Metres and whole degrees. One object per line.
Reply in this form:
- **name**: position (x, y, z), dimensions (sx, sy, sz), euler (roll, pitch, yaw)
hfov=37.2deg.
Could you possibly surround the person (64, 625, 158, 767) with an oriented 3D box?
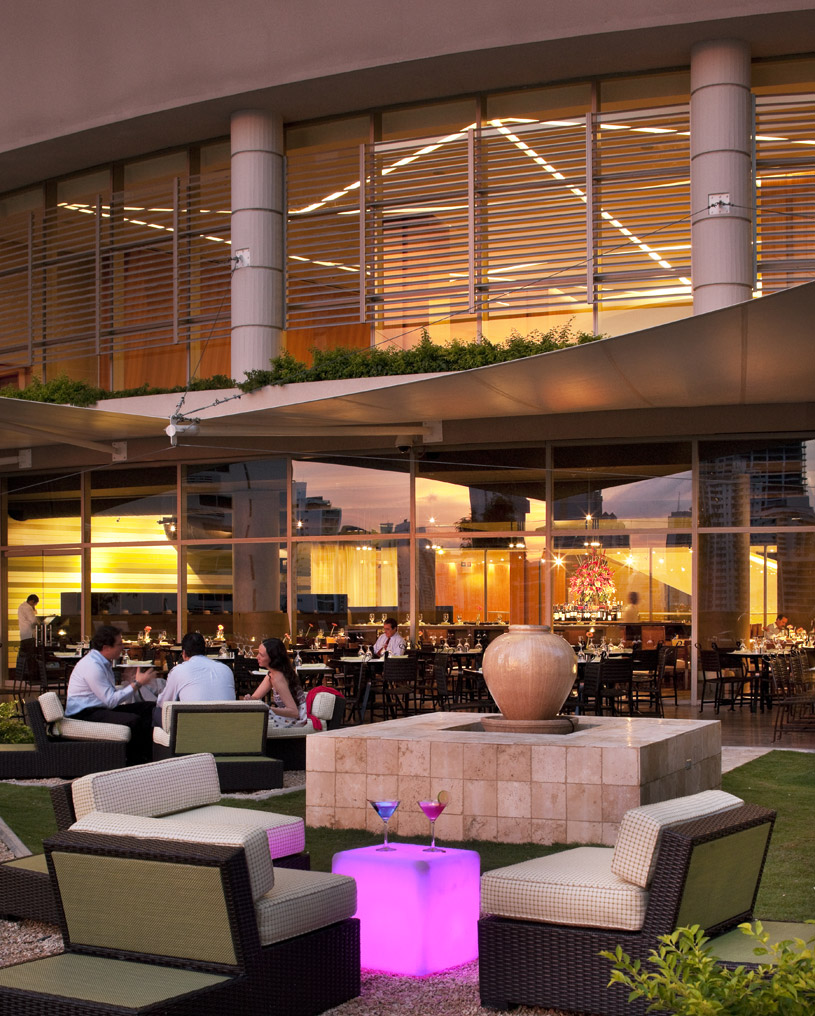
- **person**: position (-2.072, 1.368, 8.505), dimensions (0.683, 0.974, 0.437), euler (3, 0, -3)

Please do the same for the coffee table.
- **coffee table**: position (-0.042, 1.313, 4.130), dimensions (0.461, 0.399, 0.452), euler (-1, -1, 33)

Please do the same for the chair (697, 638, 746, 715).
- **chair**: position (3.241, 1.682, 12.552), dimensions (0.305, 0.444, 0.316), euler (4, -27, -17)

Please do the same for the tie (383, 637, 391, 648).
- **tie**: position (-0.208, 1.434, 12.839), dimensions (0.074, 0.107, 0.027), euler (3, -11, -4)

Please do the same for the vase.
- **vase**: position (0.667, 0.908, 6.657), dimensions (0.548, 0.490, 0.512), euler (-1, -4, 4)

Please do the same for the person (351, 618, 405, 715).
- **person**: position (-0.265, 1.626, 12.794), dimensions (0.652, 0.796, 0.599), euler (5, -4, -27)
